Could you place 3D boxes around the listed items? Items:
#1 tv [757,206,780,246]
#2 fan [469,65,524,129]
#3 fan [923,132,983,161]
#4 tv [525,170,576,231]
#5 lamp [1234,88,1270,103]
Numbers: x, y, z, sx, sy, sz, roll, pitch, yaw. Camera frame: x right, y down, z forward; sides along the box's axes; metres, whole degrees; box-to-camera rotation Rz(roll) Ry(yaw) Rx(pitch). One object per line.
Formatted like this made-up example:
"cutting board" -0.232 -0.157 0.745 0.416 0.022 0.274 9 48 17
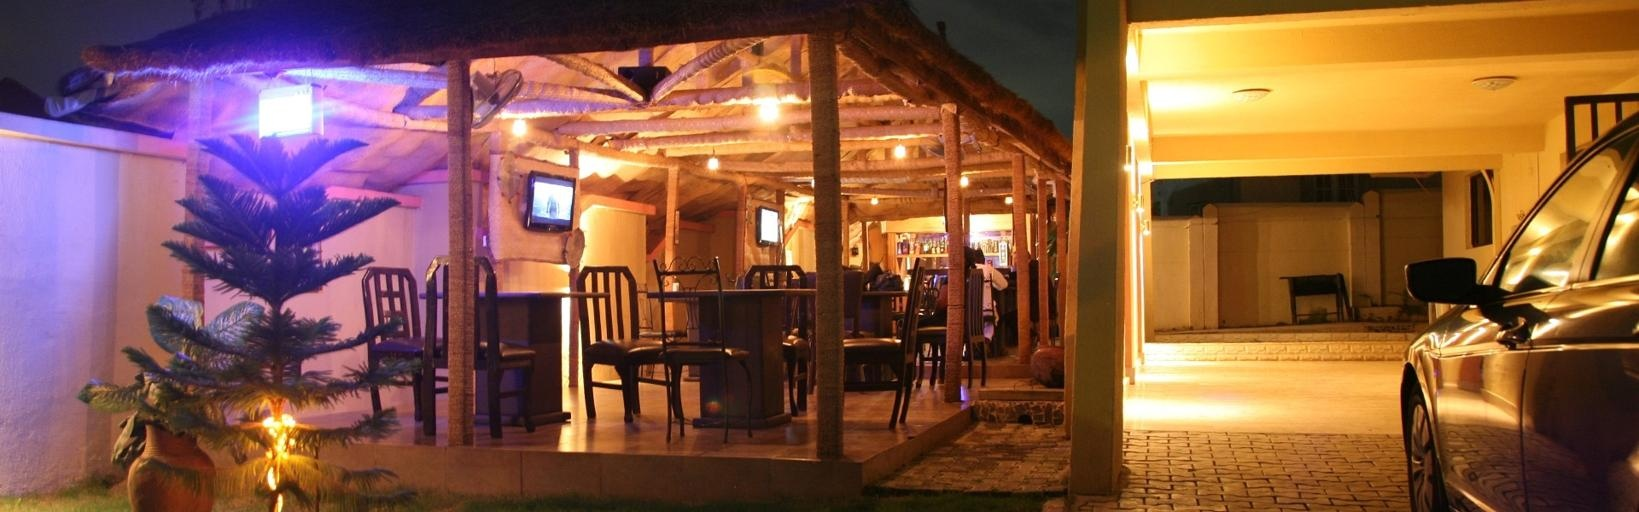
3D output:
"tv" -1.700 -0.993 34.913 0.281 1.245 1.256 -1 -5 29
"fan" -8.062 -3.949 26.232 1.449 0.667 1.708 -9 -28 -47
"fan" 4.007 -3.445 32.087 1.540 0.300 1.432 -1 -1 34
"tv" -7.521 -1.477 29.285 1.401 1.584 0.236 5 -6 -41
"lamp" 12.121 -4.475 29.453 0.904 0.221 1.033 -1 -4 28
